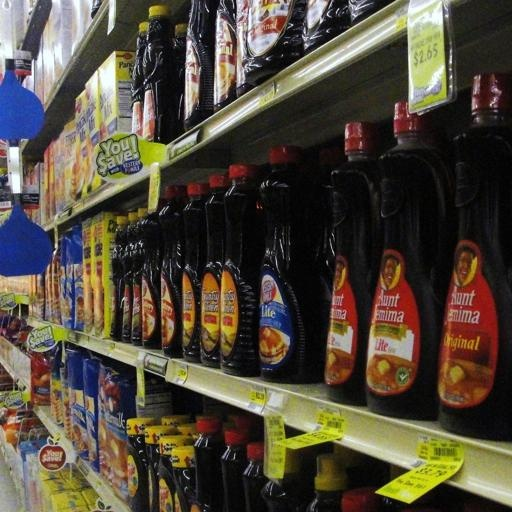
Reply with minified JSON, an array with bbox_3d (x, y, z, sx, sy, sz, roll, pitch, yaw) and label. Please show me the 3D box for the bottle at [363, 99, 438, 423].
[{"bbox_3d":[0.186,-0.001,0.606,0.101,0.397,0.078,-2,-3,12],"label":"bottle"}]
